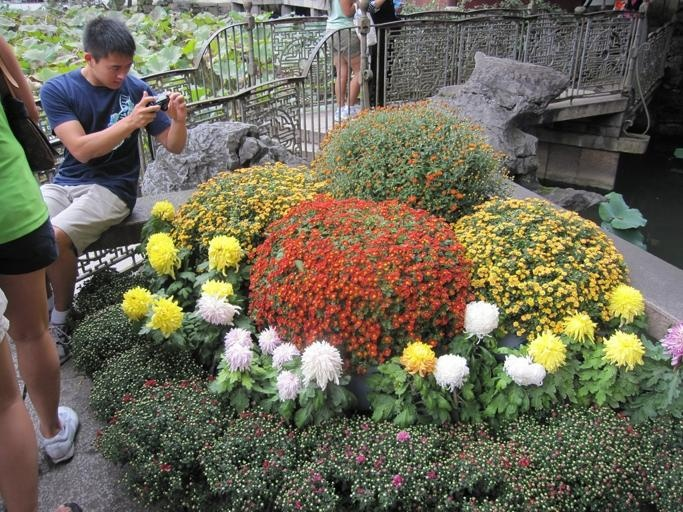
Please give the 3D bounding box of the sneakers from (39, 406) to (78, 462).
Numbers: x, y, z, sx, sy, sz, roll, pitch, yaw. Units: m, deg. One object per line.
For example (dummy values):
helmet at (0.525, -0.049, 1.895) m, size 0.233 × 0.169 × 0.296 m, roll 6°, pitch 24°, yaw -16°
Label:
sneakers at (-1.760, 1.164, 2.786) m, size 0.151 × 0.168 × 0.393 m, roll -12°, pitch 37°, yaw -17°

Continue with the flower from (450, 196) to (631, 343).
flower at (1.346, 0.214, 3.093) m, size 0.999 × 0.411 × 0.910 m, roll -23°, pitch 53°, yaw -20°

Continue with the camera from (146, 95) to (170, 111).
camera at (-1.400, -1.187, 3.405) m, size 0.156 × 0.078 × 0.214 m, roll -6°, pitch 8°, yaw -14°

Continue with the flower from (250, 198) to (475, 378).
flower at (0.151, 0.048, 3.293) m, size 1.741 × 0.745 × 1.761 m, roll -7°, pitch 20°, yaw -22°
